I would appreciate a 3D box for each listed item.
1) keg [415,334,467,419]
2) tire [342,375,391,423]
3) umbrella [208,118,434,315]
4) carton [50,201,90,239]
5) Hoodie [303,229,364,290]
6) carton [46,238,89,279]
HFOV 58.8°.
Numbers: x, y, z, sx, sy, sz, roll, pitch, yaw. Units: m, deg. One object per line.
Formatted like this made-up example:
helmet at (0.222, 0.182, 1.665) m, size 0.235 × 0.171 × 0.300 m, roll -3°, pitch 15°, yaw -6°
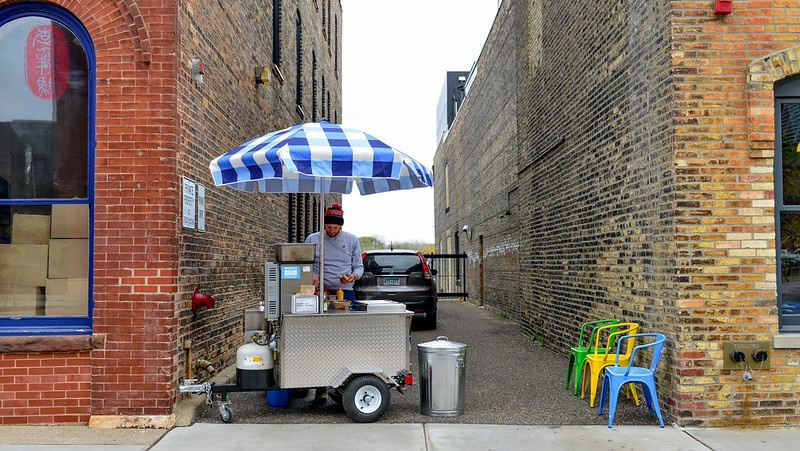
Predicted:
keg at (0.688, 2.501, 11.636) m, size 0.875 × 1.150 × 0.835 m, roll -5°, pitch -8°, yaw 38°
tire at (-0.546, 2.694, 11.029) m, size 0.731 × 0.675 × 0.247 m, roll 5°, pitch -7°, yaw -8°
umbrella at (-1.226, -0.271, 11.662) m, size 3.285 × 2.630 × 3.209 m, roll 0°, pitch 1°, yaw 8°
carton at (-5.145, -0.053, 11.008) m, size 0.621 × 0.527 × 0.138 m, roll -2°, pitch 1°, yaw 4°
Hoodie at (-1.176, 0.617, 12.192) m, size 1.178 × 1.095 × 0.666 m, roll 0°, pitch -5°, yaw -13°
carton at (-5.171, 0.530, 10.992) m, size 0.692 × 0.588 × 0.154 m, roll 4°, pitch -1°, yaw 1°
